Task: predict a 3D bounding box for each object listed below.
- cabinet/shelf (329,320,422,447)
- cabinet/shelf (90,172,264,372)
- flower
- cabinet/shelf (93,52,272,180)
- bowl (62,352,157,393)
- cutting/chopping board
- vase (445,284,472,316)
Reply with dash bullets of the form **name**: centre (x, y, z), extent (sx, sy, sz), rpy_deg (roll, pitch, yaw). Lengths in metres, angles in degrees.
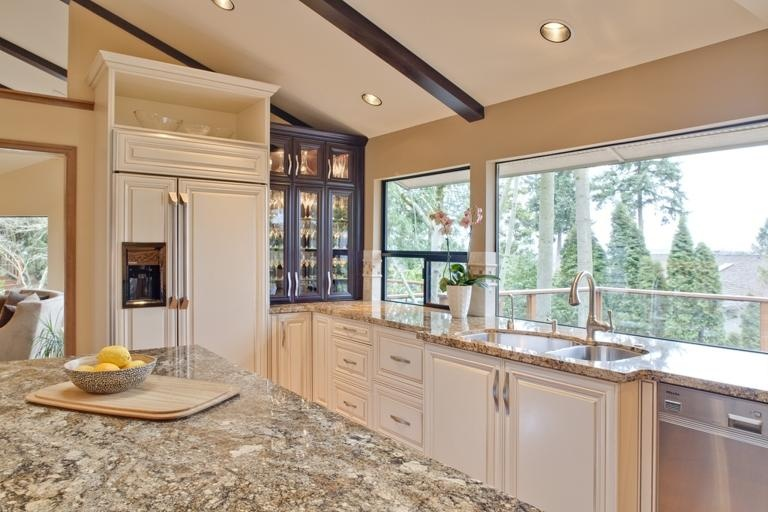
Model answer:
- **cabinet/shelf**: centre (0.071, 1.064, 4.156), extent (0.439, 0.870, 1.193), rpy_deg (2, -3, -41)
- **cabinet/shelf**: centre (-1.740, 0.277, 4.325), extent (1.277, 1.816, 0.589), rpy_deg (1, 3, -15)
- **flower**: centre (0.634, -0.043, 4.207), extent (0.474, 0.688, 0.715), rpy_deg (2, 0, -29)
- **cabinet/shelf**: centre (-1.780, -0.906, 4.348), extent (1.462, 1.233, 0.614), rpy_deg (0, 7, -39)
- **bowl**: centre (-1.254, 0.555, 2.219), extent (0.391, 0.118, 0.362), rpy_deg (3, -1, 0)
- **cutting/chopping board**: centre (-1.104, 0.621, 2.170), extent (0.851, 0.091, 0.342), rpy_deg (2, 0, 12)
- **vase**: centre (0.617, 0.378, 3.966), extent (0.262, 0.244, 0.255), rpy_deg (-4, -7, 34)
